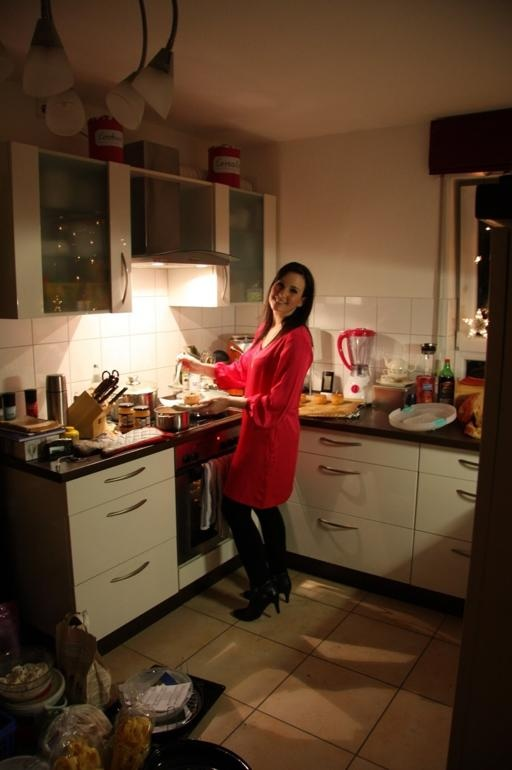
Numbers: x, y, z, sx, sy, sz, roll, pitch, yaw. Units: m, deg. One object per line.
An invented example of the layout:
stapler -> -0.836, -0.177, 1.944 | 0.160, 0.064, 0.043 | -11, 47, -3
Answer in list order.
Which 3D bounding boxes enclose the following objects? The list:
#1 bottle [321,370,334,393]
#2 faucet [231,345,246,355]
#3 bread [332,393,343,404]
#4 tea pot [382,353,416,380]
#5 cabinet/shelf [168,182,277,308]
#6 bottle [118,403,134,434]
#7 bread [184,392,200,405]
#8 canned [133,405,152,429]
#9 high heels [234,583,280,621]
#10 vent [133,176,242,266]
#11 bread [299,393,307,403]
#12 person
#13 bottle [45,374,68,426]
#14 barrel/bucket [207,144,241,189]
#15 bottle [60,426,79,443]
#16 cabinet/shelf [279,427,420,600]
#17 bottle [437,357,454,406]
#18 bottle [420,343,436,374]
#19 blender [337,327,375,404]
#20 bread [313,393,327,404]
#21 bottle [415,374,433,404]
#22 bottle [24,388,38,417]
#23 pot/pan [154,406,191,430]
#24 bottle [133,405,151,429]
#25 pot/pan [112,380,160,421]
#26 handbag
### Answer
bottle -> 0.439, -0.020, 3.312 | 0.079, 0.134, 0.044 | 2, 8, 14
faucet -> -0.110, -0.219, 3.279 | 0.053, 0.028, 0.077 | 7, 34, -4
bread -> 0.464, 0.074, 3.039 | 0.050, 0.046, 0.051 | 1, 3, -22
tea pot -> 0.781, -0.103, 2.952 | 0.171, 0.122, 0.120 | 7, 12, 35
cabinet/shelf -> -0.213, -0.786, 3.000 | 0.268, 0.759, 0.781 | 2, 7, 27
bottle -> -0.598, 0.152, 2.458 | 0.061, 0.118, 0.071 | -2, 8, -20
bread -> -0.320, 0.066, 2.670 | 0.051, 0.036, 0.054 | 1, 6, 25
canned -> -0.545, 0.149, 2.542 | 0.119, 0.143, 0.083 | -1, 4, -15
high heels -> 0.009, 1.020, 2.538 | 0.257, 0.200, 0.108 | -3, -1, 4
vent -> -0.382, -0.832, 2.701 | 0.271, 0.386, 0.551 | 14, 19, 28
bread -> 0.275, 0.072, 3.154 | 0.049, 0.045, 0.050 | 2, 2, 37
person -> -0.009, 0.248, 2.646 | 0.452, 1.670, 0.605 | -6, 10, -40
bottle -> -0.909, 0.068, 2.431 | 0.088, 0.235, 0.137 | -3, 8, -22
barrel/bucket -> -0.174, -1.213, 2.986 | 0.208, 0.252, 0.219 | 1, 19, 0
bottle -> -0.767, 0.201, 2.194 | 0.054, 0.053, 0.057 | 2, 8, 3
cabinet/shelf -> 0.548, 0.556, 2.928 | 0.728, 0.779, 0.488 | 7, 15, 27
bottle -> 1.010, -0.021, 2.861 | 0.087, 0.239, 0.150 | 1, 8, 9
bottle -> 0.939, -0.140, 2.927 | 0.076, 0.172, 0.121 | 3, 8, 18
blender -> 0.569, -0.115, 3.120 | 0.218, 0.429, 0.244 | 3, 8, 19
bread -> 0.374, 0.078, 3.100 | 0.054, 0.040, 0.054 | 1, 5, -14
bottle -> 0.911, 0.020, 2.905 | 0.090, 0.143, 0.119 | 0, 8, -2
bottle -> -0.982, 0.075, 2.334 | 0.052, 0.125, 0.209 | -3, 8, -23
pot/pan -> -0.393, 0.160, 2.481 | 0.142, 0.088, 0.136 | 0, 8, -6
bottle -> -0.541, 0.138, 2.576 | 0.120, 0.145, 0.084 | -1, 4, -15
pot/pan -> -0.623, 0.090, 2.727 | 0.185, 0.186, 0.206 | 1, 4, -13
handbag -> -0.607, 0.937, 1.804 | 0.207, 0.346, 0.100 | 3, 8, 16
